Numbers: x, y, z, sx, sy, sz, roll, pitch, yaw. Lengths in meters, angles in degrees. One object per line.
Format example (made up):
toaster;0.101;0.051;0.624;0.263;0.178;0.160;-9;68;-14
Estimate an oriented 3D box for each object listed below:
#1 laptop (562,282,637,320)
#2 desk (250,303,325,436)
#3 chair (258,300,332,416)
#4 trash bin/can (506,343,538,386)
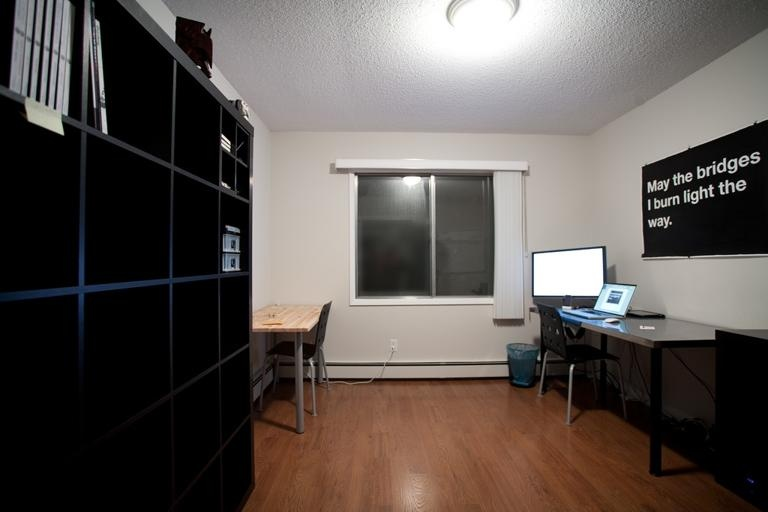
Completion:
laptop;1.932;0.394;4.308;0.353;0.253;0.393;4;-5;-10
desk;-0.888;0.838;4.626;0.620;0.651;1.276;5;6;-1
chair;-0.774;0.926;4.888;0.801;1.270;0.887;3;-4;-1
trash bin/can;1.306;1.083;4.955;0.304;0.387;0.372;0;-5;-6
